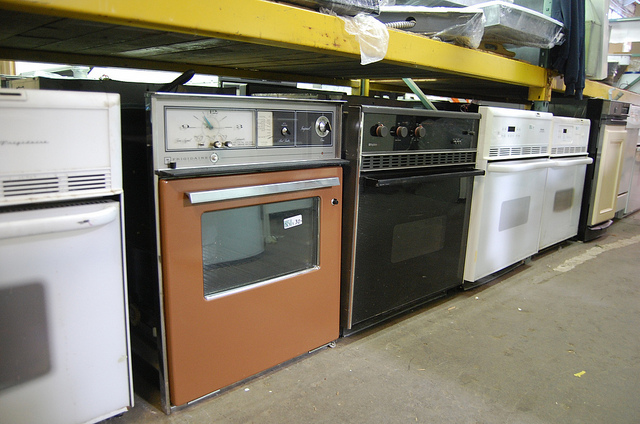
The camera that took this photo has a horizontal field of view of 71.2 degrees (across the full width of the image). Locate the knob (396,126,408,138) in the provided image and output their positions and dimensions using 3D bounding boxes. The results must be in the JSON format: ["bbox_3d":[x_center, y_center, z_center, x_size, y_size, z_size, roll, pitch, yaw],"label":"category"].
[{"bbox_3d":[0.458,-0.441,2.465,0.086,0.064,0.026,-17,20,-41],"label":"knob"}]

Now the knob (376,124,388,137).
[{"bbox_3d":[0.330,-0.431,2.380,0.027,0.067,0.077,11,21,43],"label":"knob"}]

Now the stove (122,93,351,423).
[{"bbox_3d":[-0.291,0.069,2.992,1.548,2.006,1.402,-9,12,-44],"label":"stove"}]

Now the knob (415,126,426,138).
[{"bbox_3d":[0.564,-0.453,2.525,0.064,0.062,0.032,-13,13,-39],"label":"knob"}]

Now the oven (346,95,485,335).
[{"bbox_3d":[0.382,-0.063,3.005,1.124,1.295,0.986,-5,15,-21],"label":"oven"}]
